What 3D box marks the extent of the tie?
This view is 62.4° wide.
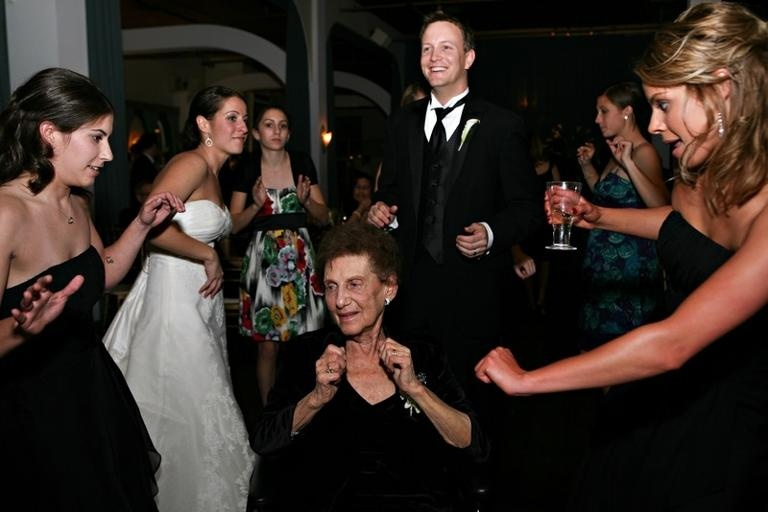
[{"bbox_3d":[0.269,-0.376,3.034,0.173,0.723,0.289,4,19,11],"label":"tie"}]

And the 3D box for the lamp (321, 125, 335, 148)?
[{"bbox_3d":[-0.853,-1.822,9.519,0.129,0.408,0.407,0,6,13],"label":"lamp"}]
